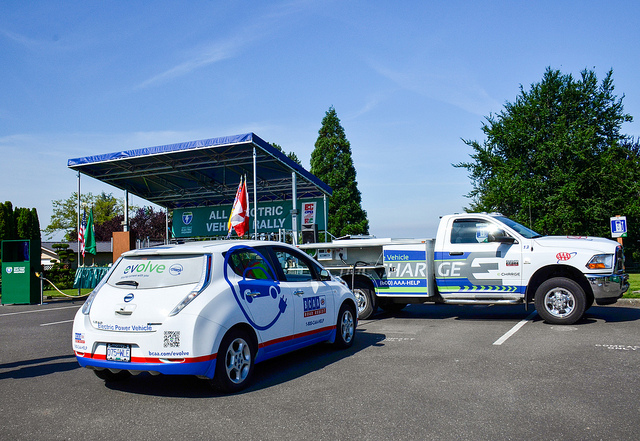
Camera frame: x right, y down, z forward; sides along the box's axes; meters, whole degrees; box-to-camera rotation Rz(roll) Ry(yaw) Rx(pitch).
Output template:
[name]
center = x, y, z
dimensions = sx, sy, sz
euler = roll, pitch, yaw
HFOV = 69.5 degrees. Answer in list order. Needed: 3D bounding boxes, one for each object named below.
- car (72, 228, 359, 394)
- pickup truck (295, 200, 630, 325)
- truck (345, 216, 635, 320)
[car]
center = -1.623, 1.646, 9.337
dimensions = 3.007, 2.443, 5.831
euler = -7, -5, 29
[pickup truck]
center = 3.663, 1.383, 13.311
dimensions = 8.161, 2.957, 3.122
euler = -6, -5, 29
[truck]
center = 4.200, 1.240, 13.136
dimensions = 8.304, 2.931, 3.251
euler = -4, -2, 20
